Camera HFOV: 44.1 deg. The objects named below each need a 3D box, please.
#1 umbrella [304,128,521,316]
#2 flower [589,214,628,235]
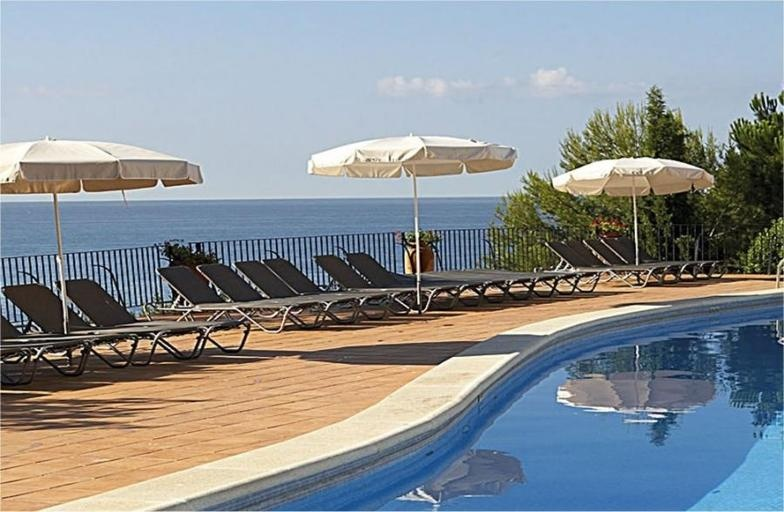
[{"bbox_3d":[0.330,-0.593,17.078,3.239,3.173,2.579,-6,7,-18],"label":"umbrella"},{"bbox_3d":[5.236,-0.726,23.527,0.778,0.349,0.700,1,-2,0],"label":"flower"}]
